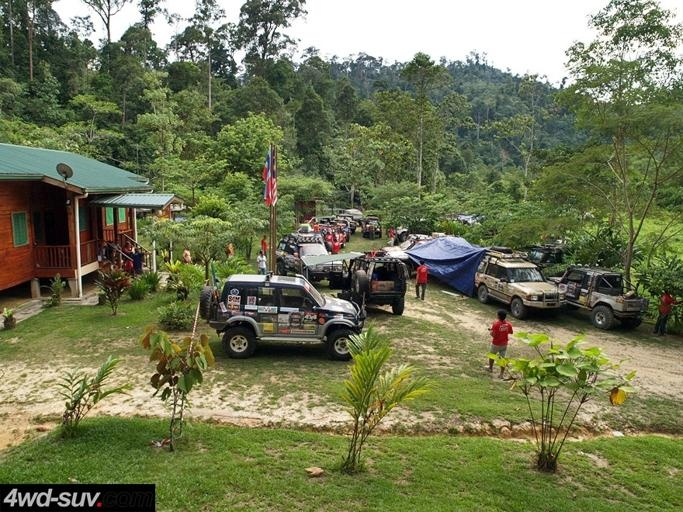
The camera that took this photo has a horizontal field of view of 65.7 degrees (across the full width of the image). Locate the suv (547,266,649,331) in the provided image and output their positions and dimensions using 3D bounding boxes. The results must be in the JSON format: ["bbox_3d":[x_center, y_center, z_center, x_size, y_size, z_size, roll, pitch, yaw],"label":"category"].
[{"bbox_3d":[10.307,1.549,21.861,2.243,1.751,3.659,3,15,-22],"label":"suv"}]

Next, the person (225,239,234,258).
[{"bbox_3d":[-5.080,-0.338,23.768,0.366,0.760,0.423,36,52,23],"label":"person"}]

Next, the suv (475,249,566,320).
[{"bbox_3d":[7.650,1.205,22.639,2.087,1.871,3.524,-2,11,-24],"label":"suv"}]

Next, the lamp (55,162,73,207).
[{"bbox_3d":[-10.833,-2.744,20.676,0.474,1.702,1.360,-3,14,-27],"label":"lamp"}]

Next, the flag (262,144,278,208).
[{"bbox_3d":[-2.769,-3.107,20.497,0.431,2.402,1.528,1,12,-11],"label":"flag"}]

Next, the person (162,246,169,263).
[{"bbox_3d":[-9.160,-0.036,27.556,0.306,0.666,0.927,-1,13,-21],"label":"person"}]

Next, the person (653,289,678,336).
[{"bbox_3d":[12.591,2.188,20.528,0.592,1.672,1.049,12,14,32],"label":"person"}]

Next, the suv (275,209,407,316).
[{"bbox_3d":[-0.088,0.647,22.572,3.262,1.869,5.733,-6,13,-38],"label":"suv"}]

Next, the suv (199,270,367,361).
[{"bbox_3d":[-1.929,1.749,16.738,4.818,2.170,2.398,0,12,-6],"label":"suv"}]
